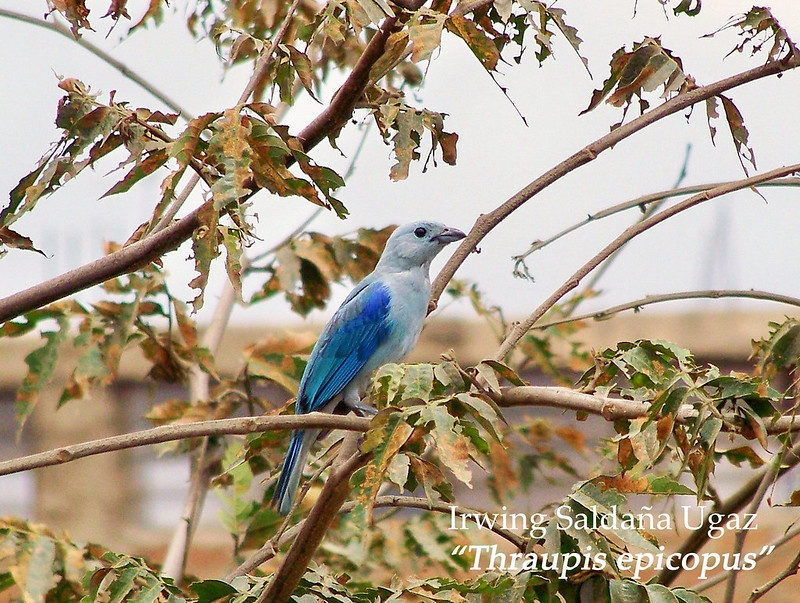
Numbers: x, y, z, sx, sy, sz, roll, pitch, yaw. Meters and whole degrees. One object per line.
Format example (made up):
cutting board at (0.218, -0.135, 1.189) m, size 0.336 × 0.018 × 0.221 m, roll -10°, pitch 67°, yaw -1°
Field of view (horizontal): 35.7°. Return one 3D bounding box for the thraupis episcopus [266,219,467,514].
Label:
thraupis episcopus at (-0.136, 0.150, 5.788) m, size 0.466 × 1.047 × 0.696 m, roll 22°, pitch -44°, yaw -4°
